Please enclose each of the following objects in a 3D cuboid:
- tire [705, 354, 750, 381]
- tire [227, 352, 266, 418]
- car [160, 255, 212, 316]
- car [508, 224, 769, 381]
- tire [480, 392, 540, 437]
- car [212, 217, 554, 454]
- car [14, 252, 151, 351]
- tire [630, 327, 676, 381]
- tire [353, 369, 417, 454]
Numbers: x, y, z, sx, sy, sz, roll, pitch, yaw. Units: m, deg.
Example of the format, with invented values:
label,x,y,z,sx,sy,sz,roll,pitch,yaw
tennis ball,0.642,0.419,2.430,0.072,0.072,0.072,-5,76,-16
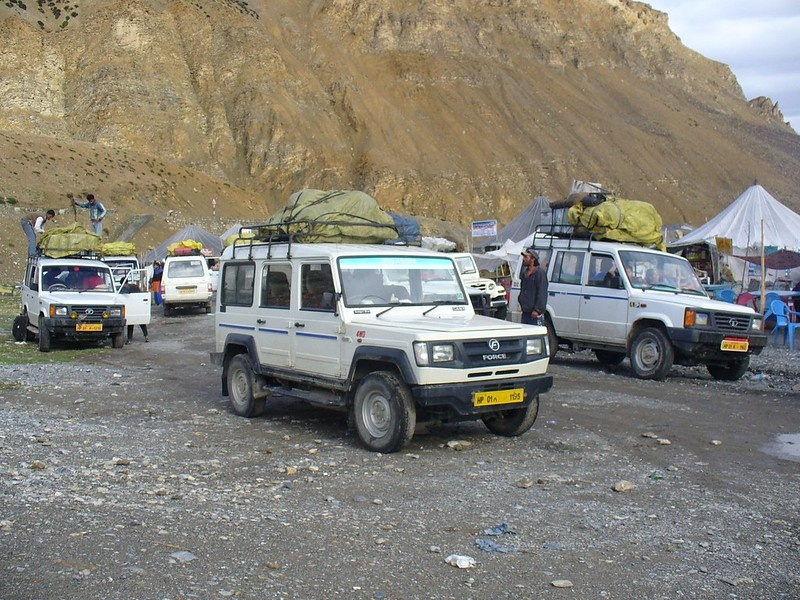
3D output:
label,x,y,z,sx,sy,sz,roll,pitch,yaw
tire,6.388,1.298,13.543,0.718,0.554,0.588,4,6,33
tire,-2.252,1.259,10.300,0.305,0.987,0.956,-1,0,-36
car,-8.494,-0.626,27.570,1.381,1.427,2.807,-1,-2,-15
car,4.837,0.105,15.032,2.624,2.858,5.353,3,1,-31
tire,1.403,1.444,8.839,0.219,0.626,0.607,7,4,-39
car,-0.379,0.547,9.714,2.371,2.185,4.347,-1,1,-41
car,-8.428,0.047,17.872,3.657,2.290,2.944,0,5,-3
tire,4.835,0.997,13.238,0.332,1.156,0.991,3,-3,-37
tire,-0.192,1.345,8.313,0.855,0.975,0.209,5,7,44
